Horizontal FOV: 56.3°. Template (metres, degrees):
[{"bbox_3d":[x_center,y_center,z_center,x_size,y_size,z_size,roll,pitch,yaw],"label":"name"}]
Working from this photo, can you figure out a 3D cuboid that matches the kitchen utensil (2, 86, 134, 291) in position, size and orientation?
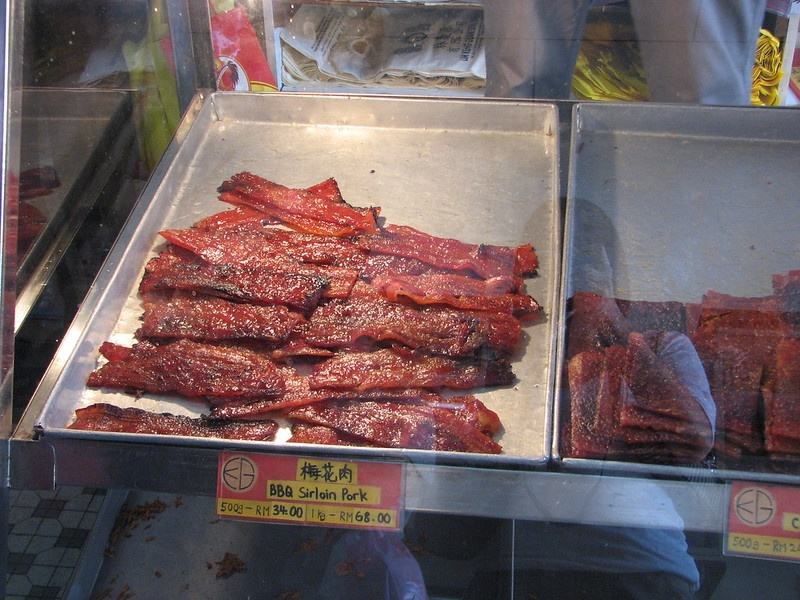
[{"bbox_3d":[-0.991,-0.366,2.228,0.119,0.518,0.495,15,101,32],"label":"kitchen utensil"}]
